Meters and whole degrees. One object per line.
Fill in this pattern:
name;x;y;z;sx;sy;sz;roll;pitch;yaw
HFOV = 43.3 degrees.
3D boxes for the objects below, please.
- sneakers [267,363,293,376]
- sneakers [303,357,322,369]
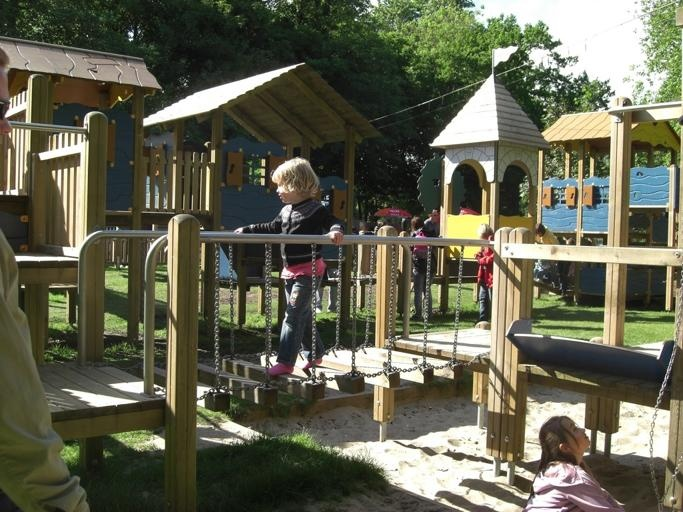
sneakers;-0.574;1.049;7.957;0.211;0.104;0.357;1;0;2
sneakers;-0.286;1.034;8.254;0.201;0.089;0.115;2;-8;-2
